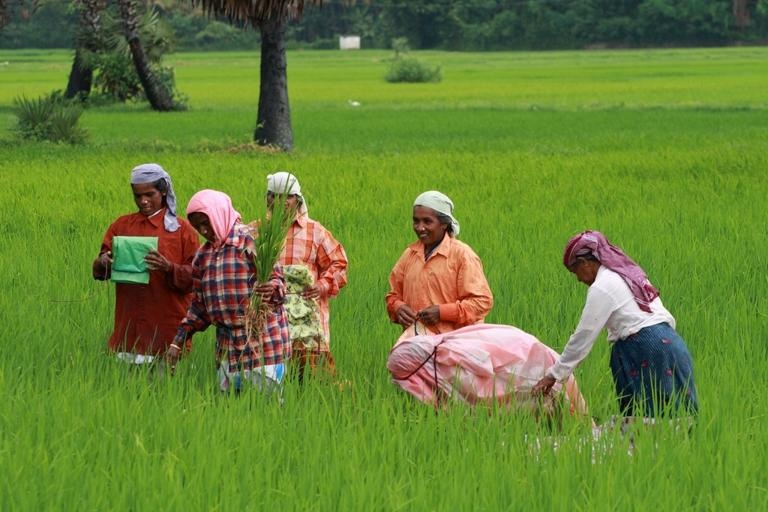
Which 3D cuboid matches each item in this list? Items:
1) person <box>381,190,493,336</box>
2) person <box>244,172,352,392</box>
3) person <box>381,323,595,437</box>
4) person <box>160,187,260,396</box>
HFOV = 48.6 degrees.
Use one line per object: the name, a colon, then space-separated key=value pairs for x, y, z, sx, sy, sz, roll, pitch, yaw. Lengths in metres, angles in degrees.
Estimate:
person: x=0.545 y=0.057 z=8.409 sx=1.057 sy=1.390 sz=0.451 roll=3 pitch=13 yaw=7
person: x=-0.961 y=0.368 z=8.809 sx=0.961 sy=2.532 sz=0.802 roll=4 pitch=17 yaw=11
person: x=0.922 y=1.016 z=8.251 sx=1.436 sy=0.603 sz=0.894 roll=13 pitch=7 yaw=11
person: x=-1.560 y=0.331 z=8.029 sx=0.828 sy=1.882 sz=0.390 roll=4 pitch=13 yaw=10
